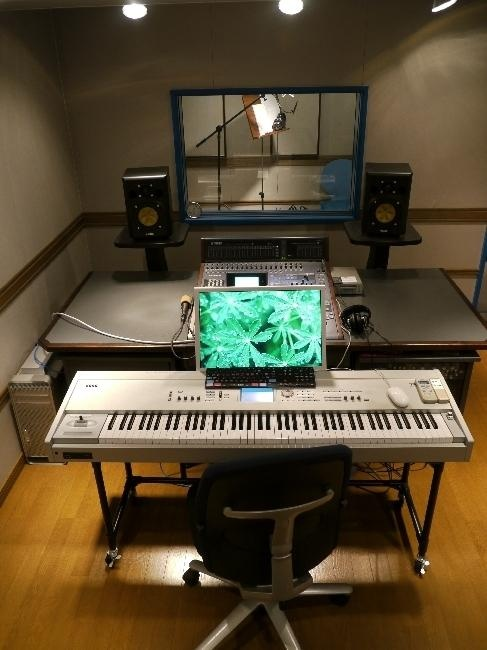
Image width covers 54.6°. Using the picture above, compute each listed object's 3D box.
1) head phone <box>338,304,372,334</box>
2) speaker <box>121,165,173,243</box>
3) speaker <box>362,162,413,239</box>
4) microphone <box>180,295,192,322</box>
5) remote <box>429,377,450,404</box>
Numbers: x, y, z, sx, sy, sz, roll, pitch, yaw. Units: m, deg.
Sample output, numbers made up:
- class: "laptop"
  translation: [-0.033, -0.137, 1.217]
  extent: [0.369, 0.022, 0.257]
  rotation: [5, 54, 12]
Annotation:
- class: "head phone"
  translation: [0.546, -0.025, 2.280]
  extent: [0.125, 0.153, 0.075]
  rotation: [0, 17, 9]
- class: "speaker"
  translation: [-0.584, -0.640, 2.855]
  extent: [0.288, 0.429, 0.245]
  rotation: [-4, -20, -18]
- class: "speaker"
  translation: [0.843, -0.733, 2.800]
  extent: [0.256, 0.403, 0.269]
  rotation: [6, 25, 13]
- class: "microphone"
  translation: [-0.279, -0.091, 2.277]
  extent: [0.049, 0.048, 0.160]
  rotation: [0, 53, 5]
- class: "remote"
  translation: [0.744, 0.260, 1.810]
  extent: [0.058, 0.033, 0.144]
  rotation: [3, 41, 7]
